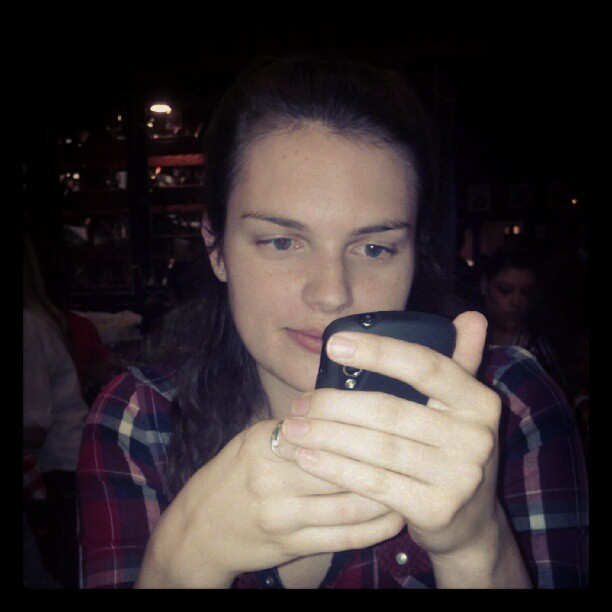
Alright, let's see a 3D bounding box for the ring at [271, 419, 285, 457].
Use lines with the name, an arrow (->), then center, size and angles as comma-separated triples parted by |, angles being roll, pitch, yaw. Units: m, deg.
ring -> -0.061, 0.275, 1.288 | 0.014, 0.064, 0.063 | 3, -6, -3
